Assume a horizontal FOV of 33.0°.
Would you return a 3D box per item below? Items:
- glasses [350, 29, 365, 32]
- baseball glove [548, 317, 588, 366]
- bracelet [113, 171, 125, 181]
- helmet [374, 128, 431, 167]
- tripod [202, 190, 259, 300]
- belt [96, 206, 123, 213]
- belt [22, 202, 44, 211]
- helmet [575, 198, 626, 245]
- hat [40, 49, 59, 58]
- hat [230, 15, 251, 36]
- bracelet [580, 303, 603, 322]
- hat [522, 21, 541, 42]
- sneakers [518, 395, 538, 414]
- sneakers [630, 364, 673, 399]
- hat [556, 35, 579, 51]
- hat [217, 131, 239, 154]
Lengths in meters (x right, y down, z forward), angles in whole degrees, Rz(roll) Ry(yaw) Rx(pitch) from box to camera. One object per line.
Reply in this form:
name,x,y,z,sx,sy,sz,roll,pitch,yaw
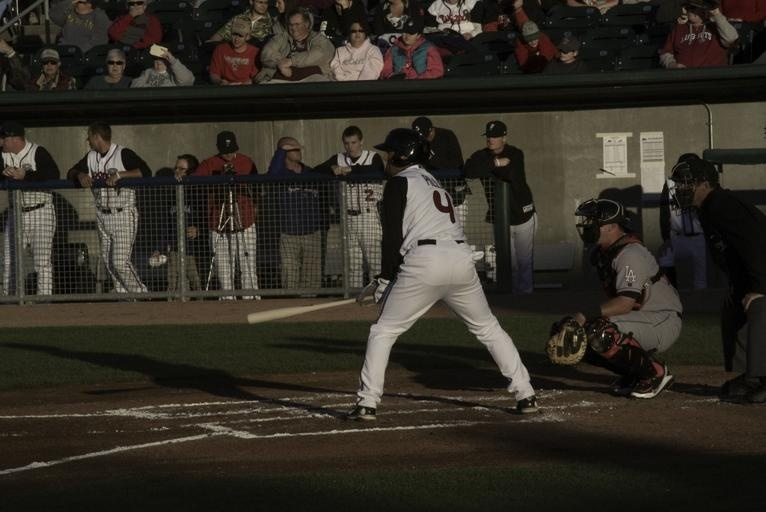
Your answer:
glasses,-0.370,-3.364,19.331,0.156,0.058,0.041,-1,15,-1
baseball glove,1.908,0.868,13.461,0.430,0.464,0.490,6,5,7
bracelet,-3.657,-1.132,18.111,0.176,0.053,0.119,-4,18,-7
helmet,0.189,-1.156,13.305,0.644,0.341,0.411,-1,18,-6
tripod,-2.064,-0.184,18.016,0.670,1.561,0.469,-4,16,-7
belt,-3.780,-0.639,18.023,0.345,0.073,0.047,-1,15,0
belt,-4.858,-0.682,18.104,0.302,0.107,0.048,-4,16,-12
helmet,2.279,-0.359,13.695,0.529,0.427,0.412,-5,-7,-14
hat,-5.201,-3.160,20.307,0.256,0.175,0.404,-5,15,-15
hat,-2.152,-3.513,19.809,0.256,0.301,0.521,-2,14,-1
bracelet,2.194,0.599,13.409,0.237,0.160,0.173,-28,14,-7
hat,2.240,-3.394,19.595,0.259,0.290,0.278,0,15,5
sneakers,1.485,1.510,13.086,0.224,0.184,0.158,-8,-12,29
sneakers,2.895,1.313,13.564,0.195,0.255,0.530,-32,-11,-34
hat,2.785,-3.183,19.311,0.316,0.156,0.210,-5,20,-31
hat,-2.221,-1.634,18.459,0.266,0.205,0.373,-5,22,-5
